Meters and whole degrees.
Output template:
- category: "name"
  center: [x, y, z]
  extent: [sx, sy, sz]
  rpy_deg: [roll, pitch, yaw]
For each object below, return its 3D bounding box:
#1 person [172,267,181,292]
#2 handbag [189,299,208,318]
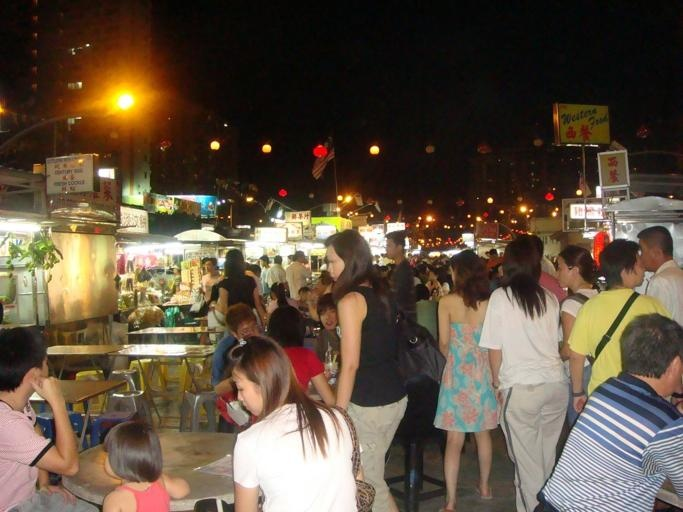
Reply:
- category: "person"
  center: [-4.536, 0.655, 15.538]
  extent: [0.245, 0.589, 1.479]
  rpy_deg: [-2, -1, -17]
- category: "handbag"
  center: [-3.226, 1.210, 12.946]
  extent: [0.354, 0.427, 0.457]
  rpy_deg: [4, -5, 1]
